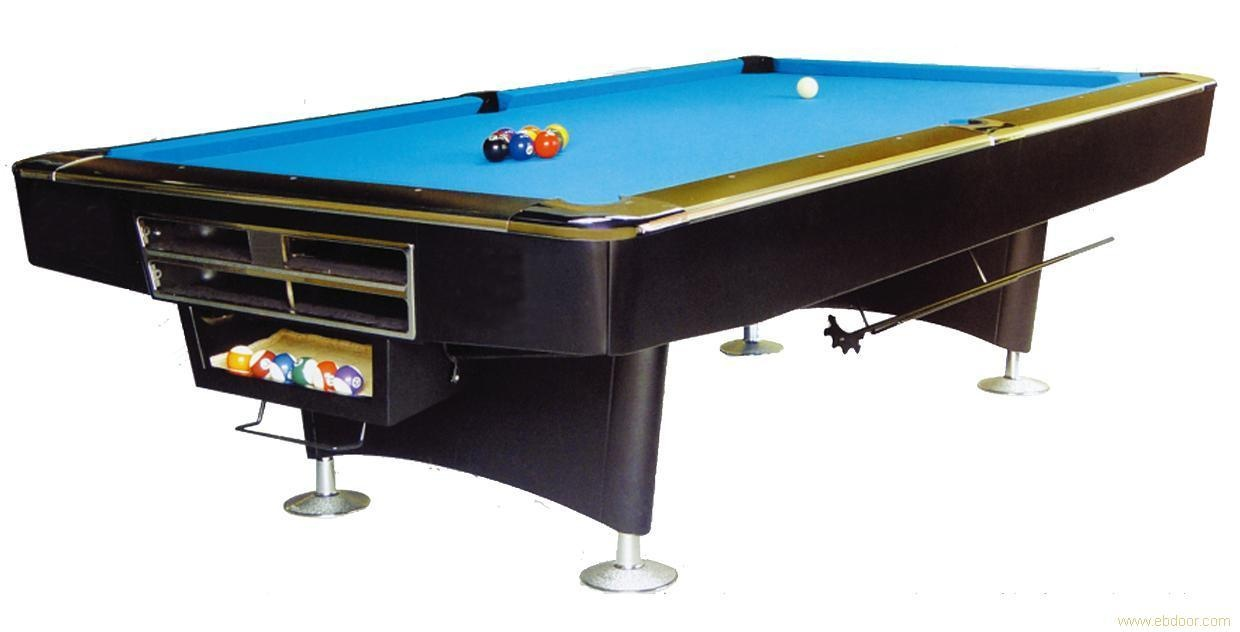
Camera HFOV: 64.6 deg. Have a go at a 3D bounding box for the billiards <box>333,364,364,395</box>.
[{"bbox_3d":[-0.965,0.229,3.485,0.094,0.076,0.093,39,0,-41],"label":"billiards"}]
